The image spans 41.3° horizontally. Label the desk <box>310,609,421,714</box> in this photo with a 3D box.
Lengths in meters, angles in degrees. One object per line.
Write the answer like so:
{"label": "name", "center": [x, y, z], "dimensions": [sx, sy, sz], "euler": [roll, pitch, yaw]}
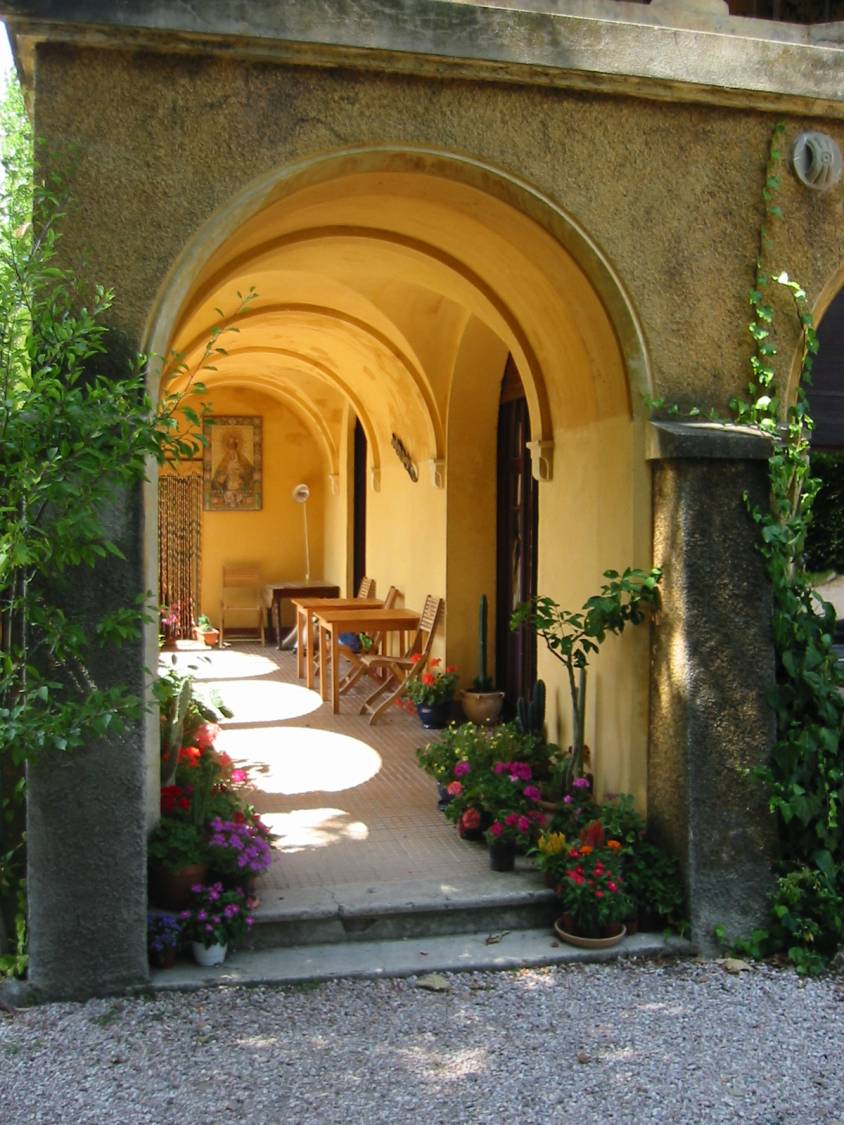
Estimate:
{"label": "desk", "center": [-0.539, 0.834, 9.979], "dimensions": [0.957, 0.834, 0.947], "euler": [-1, 4, -7]}

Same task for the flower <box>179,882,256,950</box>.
{"label": "flower", "center": [-0.824, 1.373, 4.547], "dimensions": [0.270, 0.224, 0.272], "euler": [10, 7, 36]}

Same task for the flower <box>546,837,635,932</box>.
{"label": "flower", "center": [0.733, 1.388, 4.888], "dimensions": [0.339, 0.252, 0.387], "euler": [0, 8, -1]}

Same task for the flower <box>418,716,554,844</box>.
{"label": "flower", "center": [0.306, 1.141, 5.791], "dimensions": [0.642, 0.393, 0.549], "euler": [1, -5, -10]}

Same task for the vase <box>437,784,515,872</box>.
{"label": "vase", "center": [0.297, 1.386, 5.660], "dimensions": [0.167, 0.218, 0.600], "euler": [1, -2, -20]}

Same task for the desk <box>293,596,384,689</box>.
{"label": "desk", "center": [-0.951, 0.773, 11.524], "dimensions": [0.996, 0.833, 0.940], "euler": [-1, 1, -14]}

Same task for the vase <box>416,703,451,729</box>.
{"label": "vase", "center": [0.085, 1.234, 9.055], "dimensions": [0.220, 0.172, 0.221], "euler": [2, -4, -32]}

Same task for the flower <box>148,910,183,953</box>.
{"label": "flower", "center": [-1.019, 1.454, 4.423], "dimensions": [0.156, 0.101, 0.140], "euler": [6, -8, -2]}

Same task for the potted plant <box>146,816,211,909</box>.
{"label": "potted plant", "center": [-1.019, 1.244, 4.634], "dimensions": [0.322, 0.291, 0.302], "euler": [6, -6, -28]}

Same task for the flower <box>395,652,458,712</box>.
{"label": "flower", "center": [0.053, 0.962, 9.132], "dimensions": [0.444, 0.295, 0.453], "euler": [-3, 2, 45]}

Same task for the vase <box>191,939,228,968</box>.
{"label": "vase", "center": [-0.853, 1.569, 4.491], "dimensions": [0.122, 0.081, 0.116], "euler": [2, 2, 14]}

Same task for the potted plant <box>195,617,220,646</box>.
{"label": "potted plant", "center": [-3.011, 0.957, 15.646], "dimensions": [0.381, 0.316, 0.390], "euler": [3, -9, -5]}

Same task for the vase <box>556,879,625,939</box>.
{"label": "vase", "center": [0.730, 1.475, 4.755], "dimensions": [0.284, 0.178, 0.247], "euler": [1, -6, -3]}

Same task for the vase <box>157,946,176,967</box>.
{"label": "vase", "center": [-1.015, 1.568, 4.459], "dimensions": [0.101, 0.067, 0.095], "euler": [0, -3, 1]}

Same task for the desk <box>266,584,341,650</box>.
{"label": "desk", "center": [-1.628, 0.718, 15.373], "dimensions": [1.029, 0.883, 0.972], "euler": [0, 0, -12]}
